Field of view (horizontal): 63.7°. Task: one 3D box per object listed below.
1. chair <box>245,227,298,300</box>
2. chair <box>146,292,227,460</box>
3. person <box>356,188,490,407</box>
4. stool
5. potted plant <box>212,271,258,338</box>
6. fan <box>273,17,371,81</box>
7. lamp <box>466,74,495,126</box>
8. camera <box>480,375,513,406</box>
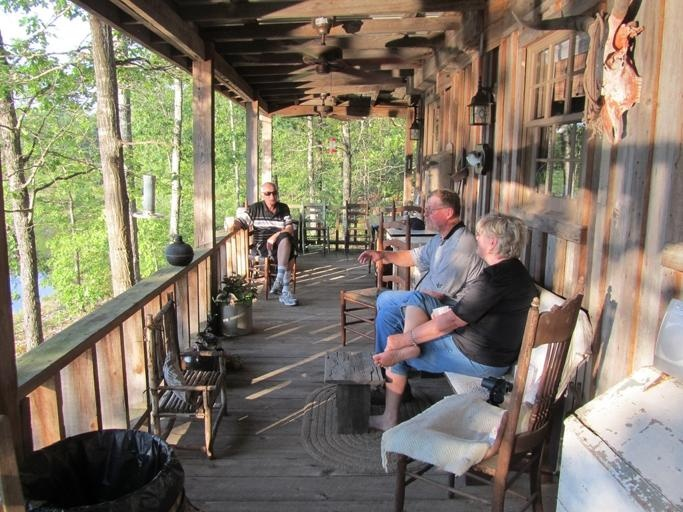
[{"bbox_3d":[-0.864,0.056,6.818,0.607,0.920,0.549,1,11,-10],"label":"chair"},{"bbox_3d":[-0.967,0.769,3.633,0.444,0.796,1.029,1,2,-8],"label":"chair"},{"bbox_3d":[0.602,0.350,4.128,1.090,1.634,0.769,-2,0,6],"label":"person"},{"bbox_3d":[0.071,0.899,3.732,0.482,0.465,0.524,0,5,-2],"label":"stool"},{"bbox_3d":[-1.034,0.487,5.498,0.358,0.599,0.385,20,6,39],"label":"potted plant"},{"bbox_3d":[-0.123,-1.946,5.063,0.586,0.275,0.582,2,9,17],"label":"fan"},{"bbox_3d":[1.157,-1.251,4.518,0.210,0.391,0.192,-1,0,3],"label":"lamp"},{"bbox_3d":[0.816,0.707,2.967,0.173,0.168,0.128,3,8,31],"label":"camera"}]
